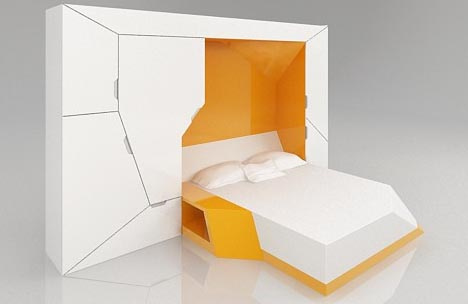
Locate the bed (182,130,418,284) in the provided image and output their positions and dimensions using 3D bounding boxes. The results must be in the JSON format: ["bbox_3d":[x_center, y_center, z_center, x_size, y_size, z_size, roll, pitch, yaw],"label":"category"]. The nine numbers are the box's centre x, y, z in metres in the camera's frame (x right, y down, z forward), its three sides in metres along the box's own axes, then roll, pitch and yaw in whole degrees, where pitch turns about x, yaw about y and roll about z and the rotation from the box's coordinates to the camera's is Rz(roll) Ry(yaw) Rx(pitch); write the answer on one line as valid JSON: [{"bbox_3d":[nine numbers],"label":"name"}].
[{"bbox_3d":[0.749,0.521,4.514,1.897,0.782,2.401,-12,24,-38],"label":"bed"}]
